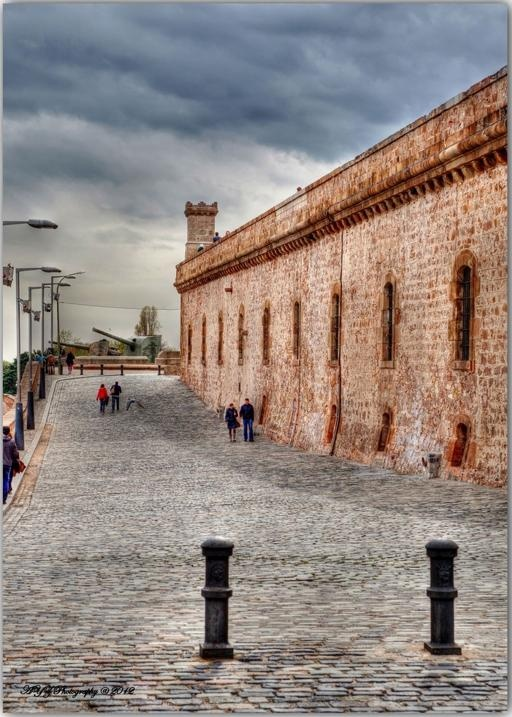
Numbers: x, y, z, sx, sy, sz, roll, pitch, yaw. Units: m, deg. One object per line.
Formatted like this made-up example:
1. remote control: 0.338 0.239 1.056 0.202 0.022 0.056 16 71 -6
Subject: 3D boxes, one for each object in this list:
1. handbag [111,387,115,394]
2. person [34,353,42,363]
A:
1. handbag: -6.543 1.451 34.736 0.173 0.471 0.204 -1 3 6
2. person: -15.897 -0.047 55.436 0.855 0.673 1.456 1 1 -7
